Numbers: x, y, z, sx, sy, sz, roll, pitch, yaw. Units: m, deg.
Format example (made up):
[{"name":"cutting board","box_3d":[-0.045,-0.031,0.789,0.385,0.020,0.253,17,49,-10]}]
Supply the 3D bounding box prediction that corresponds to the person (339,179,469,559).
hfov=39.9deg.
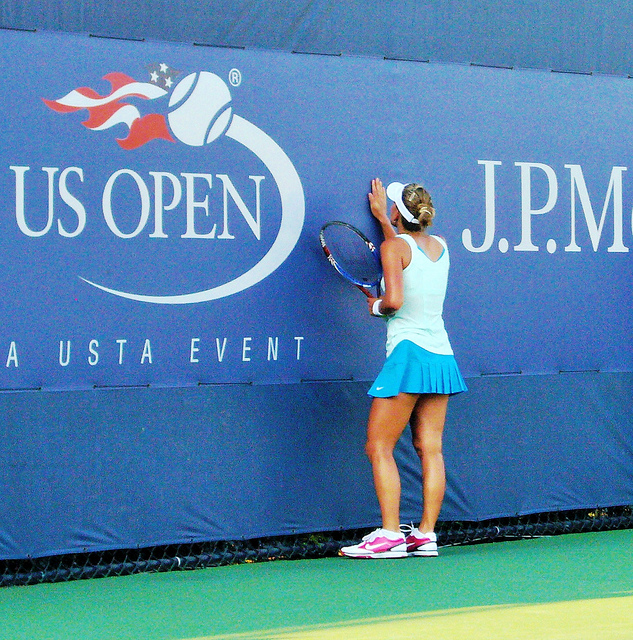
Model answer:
[{"name":"person","box_3d":[0.429,0.250,4.183,0.510,1.787,0.328,-1,0,-36]}]

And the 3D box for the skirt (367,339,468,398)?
[{"name":"skirt","box_3d":[0.542,0.196,4.156,0.459,0.302,0.289,9,8,-1]}]

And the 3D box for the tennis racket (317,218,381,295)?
[{"name":"tennis racket","box_3d":[0.188,-0.303,4.652,0.182,0.045,0.615,19,-25,40]}]

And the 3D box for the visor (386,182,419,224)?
[{"name":"visor","box_3d":[0.394,-0.588,4.242,0.057,0.233,0.149,-30,-19,31]}]
